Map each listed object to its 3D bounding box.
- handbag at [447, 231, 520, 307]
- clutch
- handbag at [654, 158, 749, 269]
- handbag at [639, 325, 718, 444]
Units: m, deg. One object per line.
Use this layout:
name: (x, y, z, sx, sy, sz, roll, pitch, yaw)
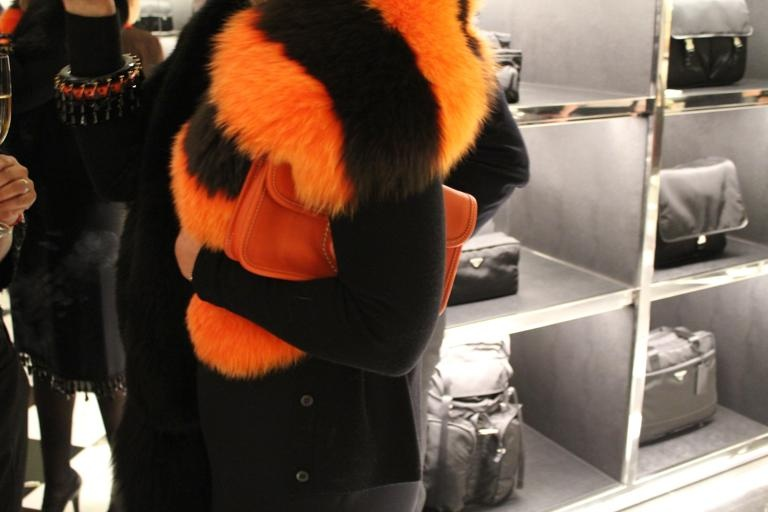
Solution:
handbag: (0.273, 0.018, 2.324, 0.299, 0.194, 0.216, -7, 33, -6)
clutch: (-0.082, -0.046, 1.290, 0.283, 0.191, 0.079, 17, 12, -18)
handbag: (1.106, -0.168, 2.682, 0.366, 0.335, 0.298, -10, 19, -15)
handbag: (1.072, 0.484, 2.740, 0.409, 0.332, 0.270, -10, 4, -26)
